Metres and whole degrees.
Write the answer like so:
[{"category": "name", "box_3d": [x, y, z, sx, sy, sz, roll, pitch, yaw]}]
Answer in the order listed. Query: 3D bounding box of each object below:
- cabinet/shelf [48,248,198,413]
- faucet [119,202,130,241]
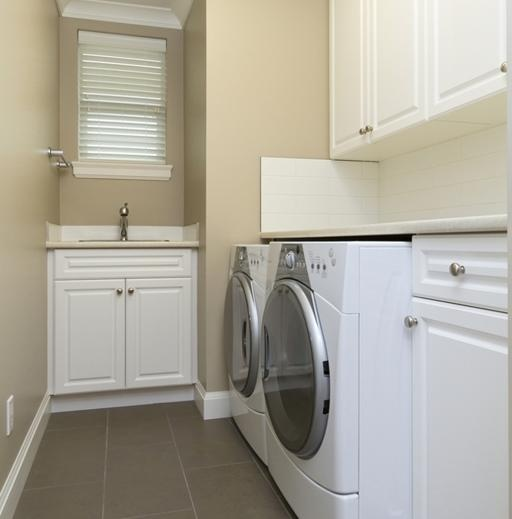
[{"category": "cabinet/shelf", "box_3d": [-0.795, 0.360, 2.867, 0.848, 1.089, 0.627, 0, -4, -19]}, {"category": "faucet", "box_3d": [-0.903, -0.260, 3.175, 0.065, 0.256, 0.122, -1, 3, -18]}]
